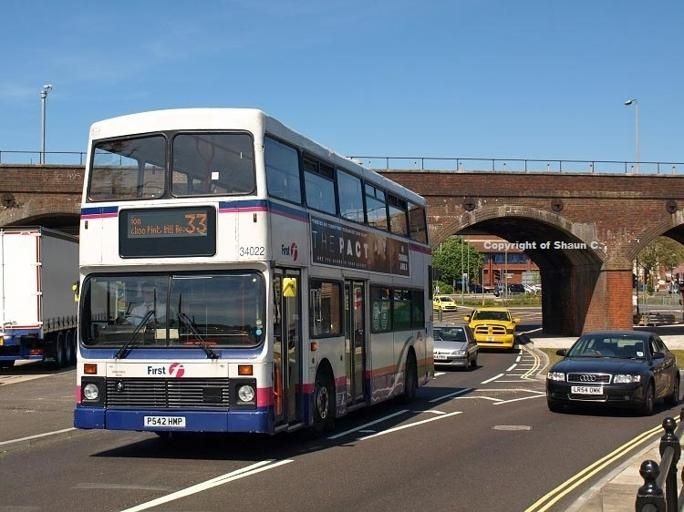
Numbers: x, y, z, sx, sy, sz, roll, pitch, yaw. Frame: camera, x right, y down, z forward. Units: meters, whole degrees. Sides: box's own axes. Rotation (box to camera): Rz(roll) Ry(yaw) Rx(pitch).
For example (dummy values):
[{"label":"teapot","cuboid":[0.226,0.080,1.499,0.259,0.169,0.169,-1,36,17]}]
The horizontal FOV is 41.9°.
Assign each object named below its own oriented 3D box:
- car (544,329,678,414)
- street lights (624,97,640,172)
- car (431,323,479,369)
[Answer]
[{"label":"car","cuboid":[6.007,2.524,19.540,1.836,1.794,3.378,-6,-7,43]},{"label":"street lights","cuboid":[6.646,-2.919,20.397,0.397,1.357,0.251,-4,7,8]},{"label":"car","cuboid":[3.950,3.115,31.087,1.452,1.593,2.317,-2,-5,8]}]
